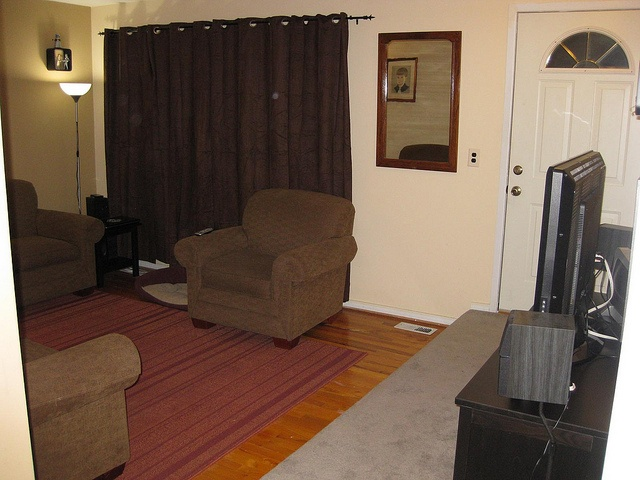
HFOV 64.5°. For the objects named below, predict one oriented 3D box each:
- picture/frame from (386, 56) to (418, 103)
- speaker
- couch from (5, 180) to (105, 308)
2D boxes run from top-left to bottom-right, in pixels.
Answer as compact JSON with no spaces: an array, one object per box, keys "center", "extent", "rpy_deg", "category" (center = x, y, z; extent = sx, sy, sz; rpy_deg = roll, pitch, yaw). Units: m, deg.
[{"center":[0.672,-1.318,4.153],"extent":[0.338,0.429,0.033],"rpy_deg":[7,15,29],"category":"picture/frame"},{"center":[0.719,0.390,1.701],"extent":[0.226,0.298,0.185],"rpy_deg":[8,16,28],"category":"speaker"},{"center":[-2.533,0.021,4.673],"extent":[0.631,0.993,0.819],"rpy_deg":[10,16,33],"category":"couch"}]
